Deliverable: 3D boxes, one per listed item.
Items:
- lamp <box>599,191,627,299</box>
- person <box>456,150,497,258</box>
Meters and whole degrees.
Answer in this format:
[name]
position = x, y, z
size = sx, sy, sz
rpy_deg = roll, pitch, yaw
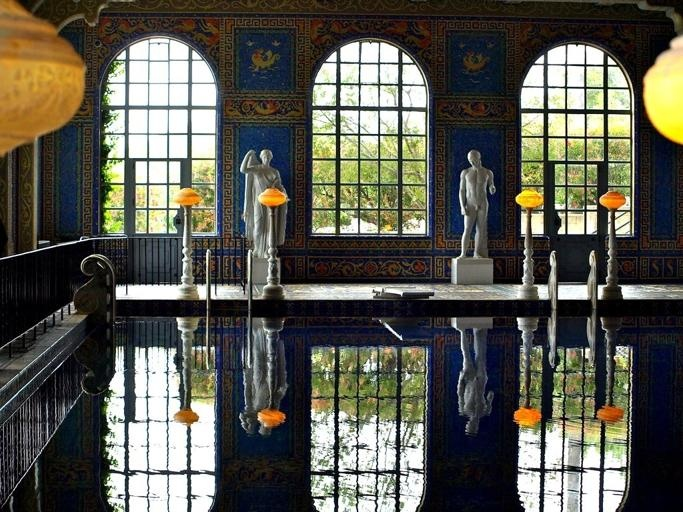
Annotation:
[lamp]
position = 3.668, -0.176, 11.498
size = 0.306, 1.400, 1.046
rpy_deg = 2, 6, 18
[person]
position = 2.207, -0.849, 13.894
size = 0.538, 1.752, 0.921
rpy_deg = 1, 6, 8
